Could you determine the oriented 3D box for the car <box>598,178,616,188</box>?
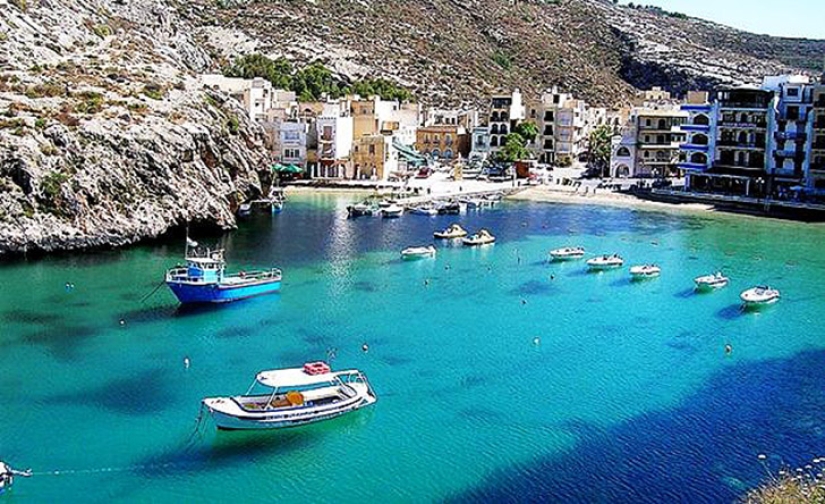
[{"bbox_3d":[39.266,-13.924,128.933,2.125,1.593,3.710,5,7,45],"label":"car"}]

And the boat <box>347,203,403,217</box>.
[{"bbox_3d":[-6.357,-6.919,105.684,8.899,2.070,4.008,-2,7,-8],"label":"boat"}]

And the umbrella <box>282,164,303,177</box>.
[{"bbox_3d":[-24.603,-16.730,131.043,2.789,1.204,2.657,7,10,16],"label":"umbrella"}]

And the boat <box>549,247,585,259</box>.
[{"bbox_3d":[19.816,0.176,81.615,4.168,1.198,1.721,-4,25,5],"label":"boat"}]

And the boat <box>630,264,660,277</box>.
[{"bbox_3d":[27.600,2.250,75.616,2.885,1.090,1.612,-2,17,0],"label":"boat"}]

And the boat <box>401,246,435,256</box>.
[{"bbox_3d":[0.900,-0.070,82.526,4.185,1.013,1.525,-1,1,-23],"label":"boat"}]

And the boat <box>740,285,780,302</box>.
[{"bbox_3d":[36.544,4.605,67.415,4.744,1.310,2.065,-4,8,-27],"label":"boat"}]

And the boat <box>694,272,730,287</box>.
[{"bbox_3d":[34.234,3.250,72.668,4.579,1.203,2.424,-7,9,-44],"label":"boat"}]

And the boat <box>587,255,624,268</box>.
[{"bbox_3d":[23.717,1.193,78.825,3.491,1.285,1.899,-4,18,-5],"label":"boat"}]

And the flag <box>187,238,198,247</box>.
[{"bbox_3d":[-26.934,-1.143,77.722,0.931,0.710,1.122,-4,-23,-3],"label":"flag"}]
